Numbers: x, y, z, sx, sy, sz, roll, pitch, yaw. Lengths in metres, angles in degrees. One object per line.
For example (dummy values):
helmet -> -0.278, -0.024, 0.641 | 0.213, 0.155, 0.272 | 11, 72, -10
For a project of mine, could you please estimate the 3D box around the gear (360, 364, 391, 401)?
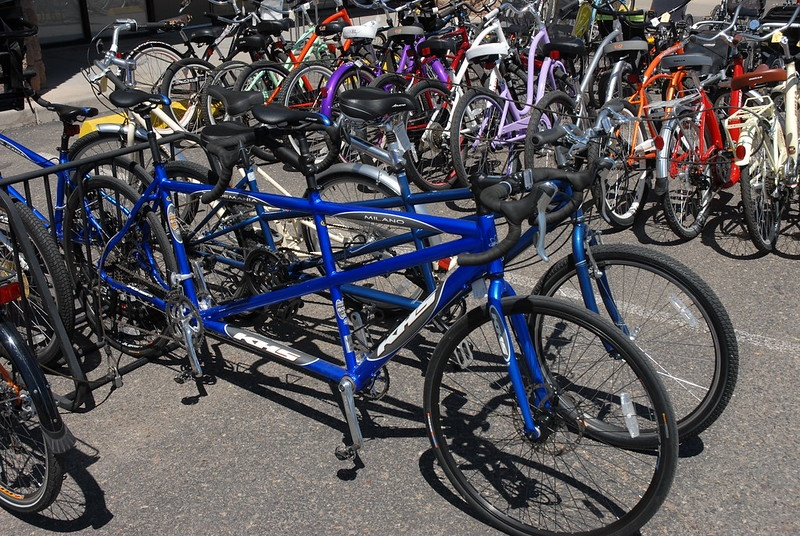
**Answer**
gear -> -0.137, 0.689, 3.967 | 0.084, 0.219, 0.229 | 17, 5, 21

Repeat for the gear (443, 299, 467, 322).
gear -> 0.329, 0.254, 4.085 | 0.047, 0.141, 0.145 | 42, 10, 25
